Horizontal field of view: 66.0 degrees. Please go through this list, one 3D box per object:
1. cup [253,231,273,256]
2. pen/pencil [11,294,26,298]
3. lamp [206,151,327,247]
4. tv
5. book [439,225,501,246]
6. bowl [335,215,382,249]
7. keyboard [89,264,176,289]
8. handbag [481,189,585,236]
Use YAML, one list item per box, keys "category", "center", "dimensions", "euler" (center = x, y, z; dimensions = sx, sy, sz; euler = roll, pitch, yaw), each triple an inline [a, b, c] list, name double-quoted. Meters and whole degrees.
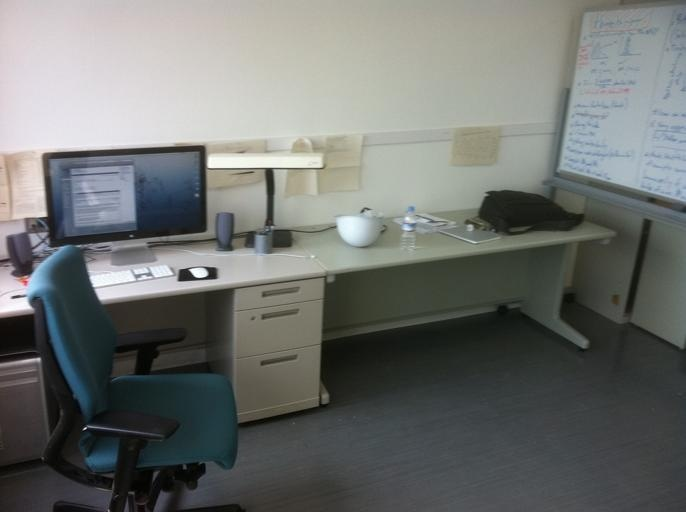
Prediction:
- category: "cup"
  center: [-0.421, -0.069, 2.860]
  dimensions: [0.119, 0.122, 0.119]
  euler: [1, 13, 0]
- category: "pen/pencil"
  center: [-1.435, 0.173, 2.328]
  dimensions: [0.025, 0.010, 0.032]
  euler: [-6, 13, -45]
- category: "lamp"
  center: [-0.454, -0.323, 2.941]
  dimensions: [0.568, 0.430, 0.280]
  euler: [0, 24, -4]
- category: "tv"
  center: [-1.102, -0.278, 2.610]
  dimensions: [0.635, 0.424, 0.170]
  euler: [-6, 24, -21]
- category: "book"
  center: [0.772, -0.136, 3.167]
  dimensions: [0.281, 0.030, 0.297]
  euler: [-16, 24, -34]
- category: "bowl"
  center: [0.110, -0.149, 3.004]
  dimensions: [0.298, 0.185, 0.280]
  euler: [-4, 5, 0]
- category: "keyboard"
  center: [-1.016, 0.090, 2.511]
  dimensions: [0.305, 0.028, 0.094]
  euler: [-12, 32, -30]
- category: "handbag"
  center: [1.202, -0.268, 3.332]
  dimensions: [0.479, 0.170, 0.348]
  euler: [2, 6, -5]
